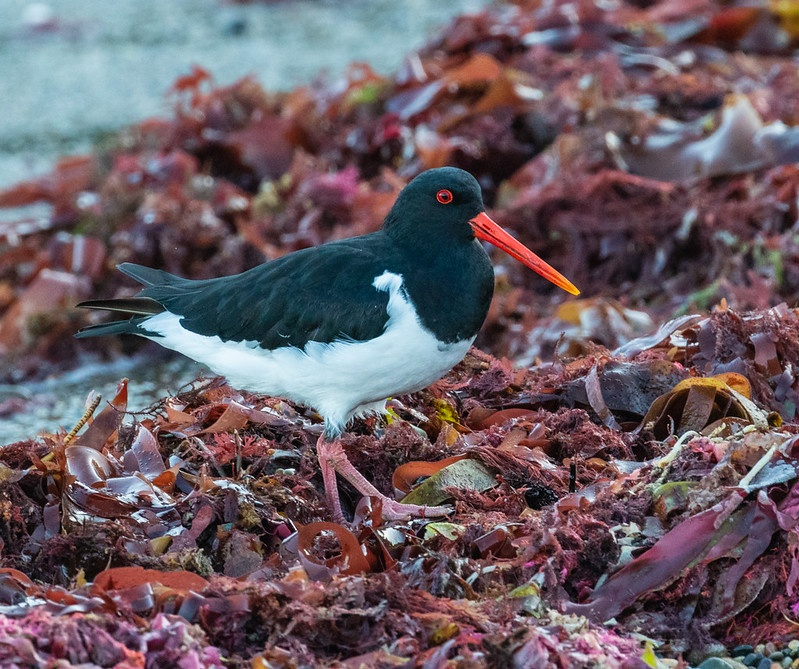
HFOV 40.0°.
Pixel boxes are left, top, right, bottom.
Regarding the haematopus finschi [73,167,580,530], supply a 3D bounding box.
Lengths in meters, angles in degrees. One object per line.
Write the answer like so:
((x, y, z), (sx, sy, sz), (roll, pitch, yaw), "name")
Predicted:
((-0.310, -0.104, 4.035), (1.311, 0.919, 1.086), (24, 46, 31), "haematopus finschi")
